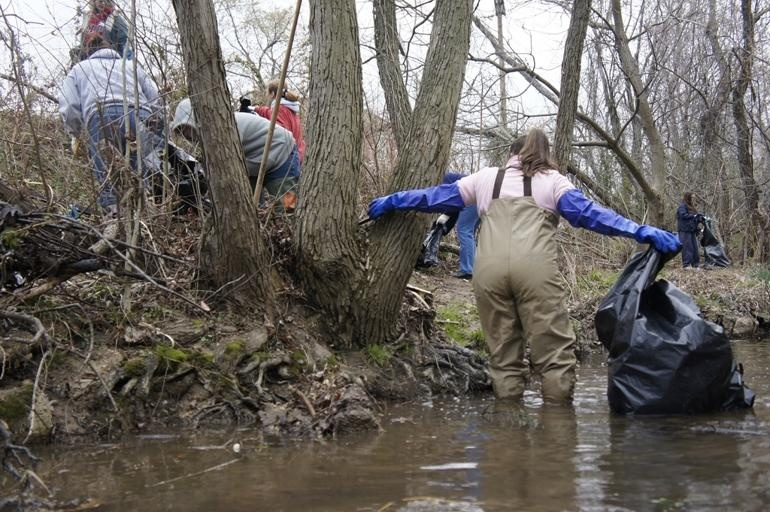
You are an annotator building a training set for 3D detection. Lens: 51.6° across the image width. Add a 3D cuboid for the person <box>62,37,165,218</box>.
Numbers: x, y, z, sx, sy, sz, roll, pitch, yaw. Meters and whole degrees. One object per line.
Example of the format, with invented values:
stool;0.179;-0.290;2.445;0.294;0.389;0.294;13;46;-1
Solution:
person;-3.147;-1.416;9.431;1.059;2.639;0.839;-7;-20;-27
